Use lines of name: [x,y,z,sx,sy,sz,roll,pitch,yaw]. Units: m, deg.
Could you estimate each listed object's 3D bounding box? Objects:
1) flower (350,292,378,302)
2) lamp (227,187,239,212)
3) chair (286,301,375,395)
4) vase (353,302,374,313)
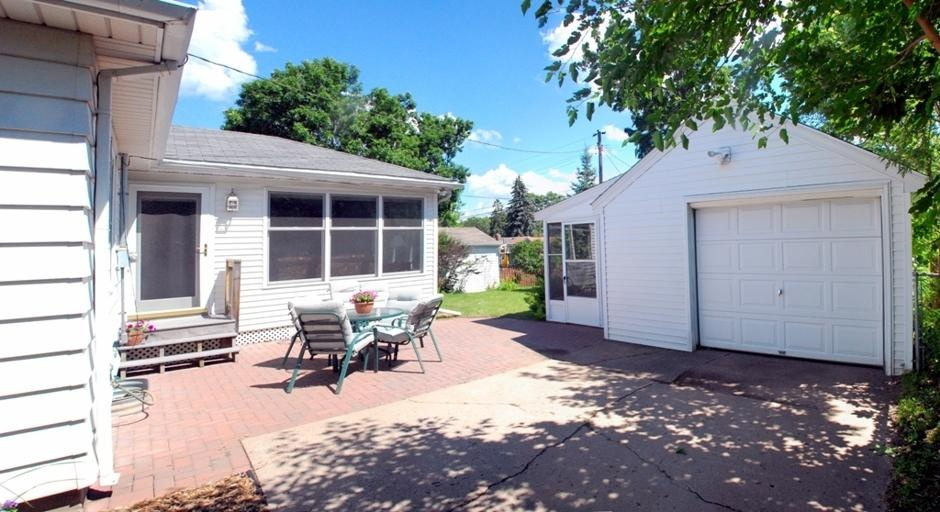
flower: [-2.010,0.789,10.895,0.272,0.123,0.261,1,-1,18]
lamp: [-5.228,-1.258,12.525,0.305,0.517,0.239,-4,7,-28]
chair: [-2.574,1.551,10.358,1.488,1.607,1.451,-2,6,-5]
vase: [-2.020,0.979,10.818,0.262,0.138,0.246,-3,1,-14]
